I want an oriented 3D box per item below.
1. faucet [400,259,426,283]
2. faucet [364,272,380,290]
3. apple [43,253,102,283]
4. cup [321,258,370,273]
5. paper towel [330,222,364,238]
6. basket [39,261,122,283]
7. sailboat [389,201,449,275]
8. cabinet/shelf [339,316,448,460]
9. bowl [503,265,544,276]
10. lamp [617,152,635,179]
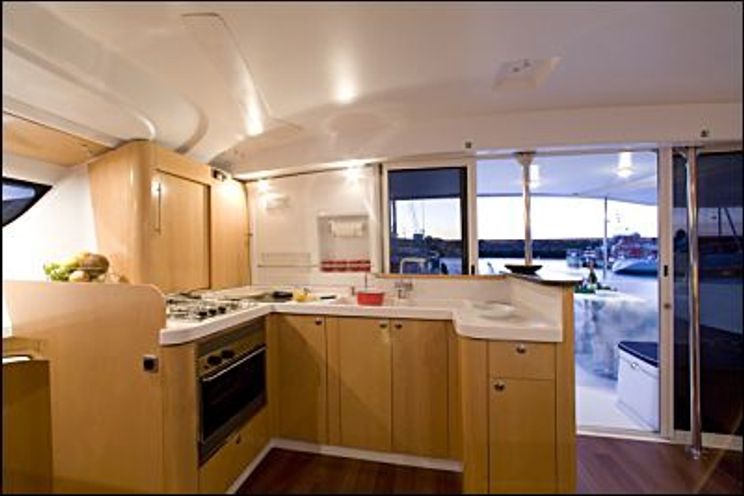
[{"bbox_3d":[0.353,0.200,4.715,0.240,0.211,0.373,-1,1,5],"label":"faucet"},{"bbox_3d":[-0.016,0.310,4.833,0.137,0.174,0.185,0,-1,6],"label":"faucet"},{"bbox_3d":[-2.301,0.164,4.031,0.297,0.121,0.275,0,-2,-5],"label":"apple"},{"bbox_3d":[-0.258,0.178,5.034,0.490,0.117,0.081,-1,1,9],"label":"cup"},{"bbox_3d":[-0.241,-0.178,4.994,0.325,0.160,0.131,-1,1,-1],"label":"paper towel"},{"bbox_3d":[-2.305,0.208,4.091,0.295,0.129,0.295,-2,-4,35],"label":"basket"},{"bbox_3d":[0.474,-0.041,5.141,0.737,0.689,0.473,-1,2,33],"label":"sailboat"},{"bbox_3d":[0.201,1.144,4.166,1.153,1.278,0.720,-1,-5,9],"label":"cabinet/shelf"},{"bbox_3d":[1.207,0.169,4.269,0.326,0.069,0.224,0,2,37],"label":"bowl"},{"bbox_3d":[2.313,-0.748,4.777,0.121,0.206,0.227,-1,2,25],"label":"lamp"}]
